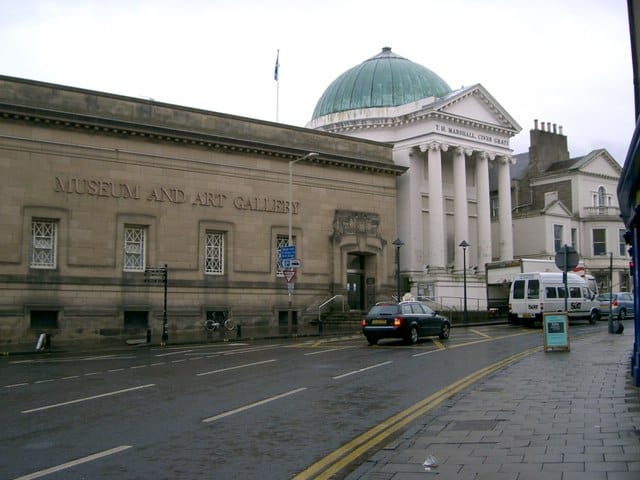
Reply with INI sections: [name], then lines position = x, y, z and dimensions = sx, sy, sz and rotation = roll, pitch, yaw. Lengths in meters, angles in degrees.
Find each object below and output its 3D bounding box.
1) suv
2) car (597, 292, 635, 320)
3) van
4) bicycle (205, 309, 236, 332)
[suv]
position = 3.968, 3.507, 28.627
dimensions = 1.709, 1.446, 3.935
rotation = -5, -5, 39
[car]
position = 18.897, 4.368, 41.530
dimensions = 4.209, 1.439, 1.760
rotation = 0, -3, -42
[van]
position = 13.500, 3.317, 37.239
dimensions = 5.144, 2.617, 2.401
rotation = 4, -6, -32
[bicycle]
position = -5.835, 4.675, 37.705
dimensions = 1.644, 1.088, 0.862
rotation = -2, -5, -23
